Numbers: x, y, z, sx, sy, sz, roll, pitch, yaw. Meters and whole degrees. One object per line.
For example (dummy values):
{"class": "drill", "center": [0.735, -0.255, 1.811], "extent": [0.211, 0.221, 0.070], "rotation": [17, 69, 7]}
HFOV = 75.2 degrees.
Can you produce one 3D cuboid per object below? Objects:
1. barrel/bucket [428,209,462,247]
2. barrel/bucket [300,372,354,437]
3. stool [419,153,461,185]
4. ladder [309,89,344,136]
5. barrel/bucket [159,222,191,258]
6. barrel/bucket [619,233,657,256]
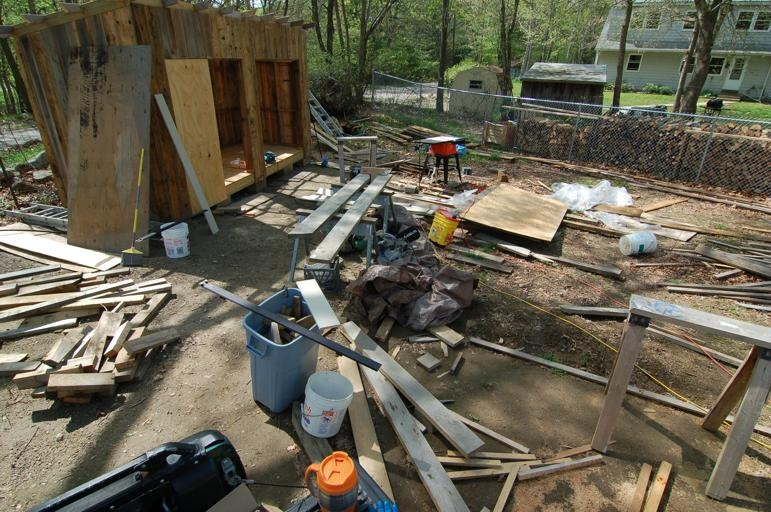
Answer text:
{"class": "barrel/bucket", "center": [1.158, -0.509, 9.802], "extent": [0.614, 0.605, 0.555], "rotation": [17, 23, -13]}
{"class": "barrel/bucket", "center": [-0.760, 1.895, 6.304], "extent": [0.650, 0.734, 0.480], "rotation": [-14, 30, -28]}
{"class": "stool", "center": [1.461, -2.309, 13.436], "extent": [1.109, 0.897, 1.025], "rotation": [9, 31, 21]}
{"class": "ladder", "center": [-2.034, -4.760, 16.910], "extent": [1.021, 1.304, 1.963], "rotation": [-3, 25, -7]}
{"class": "barrel/bucket", "center": [-3.726, -0.296, 9.095], "extent": [0.670, 0.563, 0.606], "rotation": [-1, 19, -8]}
{"class": "barrel/bucket", "center": [4.957, -0.199, 9.790], "extent": [0.516, 0.325, 0.283], "rotation": [-3, 64, -23]}
